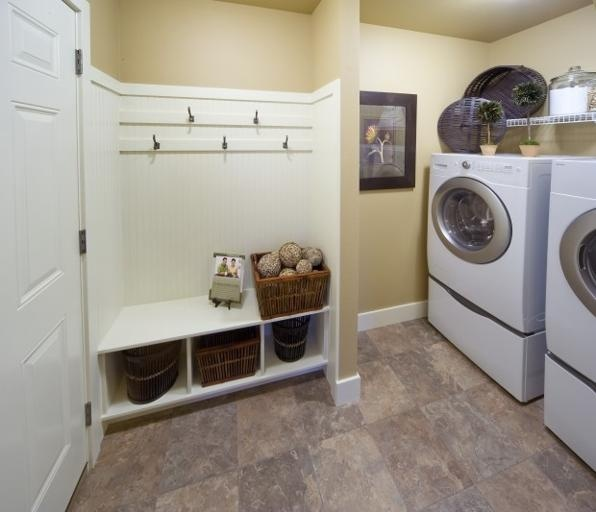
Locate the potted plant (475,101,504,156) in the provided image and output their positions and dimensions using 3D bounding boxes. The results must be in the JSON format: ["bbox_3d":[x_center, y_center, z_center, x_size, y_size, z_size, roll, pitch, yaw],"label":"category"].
[{"bbox_3d":[1.249,-0.860,2.849,0.171,0.424,0.175,0,1,12],"label":"potted plant"}]

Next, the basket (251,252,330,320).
[{"bbox_3d":[-0.038,0.136,2.453,0.295,0.238,0.327,-4,6,-14],"label":"basket"}]

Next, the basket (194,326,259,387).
[{"bbox_3d":[-0.412,0.581,2.563,0.269,0.215,0.303,-3,9,-15],"label":"basket"}]

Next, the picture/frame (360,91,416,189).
[{"bbox_3d":[0.607,-0.824,2.998,0.492,0.671,0.026,-6,12,-22],"label":"picture/frame"}]

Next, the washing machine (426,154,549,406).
[{"bbox_3d":[1.285,-0.038,2.875,0.571,1.405,0.816,-15,21,-20],"label":"washing machine"}]

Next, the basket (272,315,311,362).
[{"bbox_3d":[-0.050,0.517,2.674,0.177,0.226,0.185,-1,6,-17],"label":"basket"}]

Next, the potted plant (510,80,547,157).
[{"bbox_3d":[1.465,-0.872,2.747,0.168,0.467,0.197,-8,13,6],"label":"potted plant"}]
